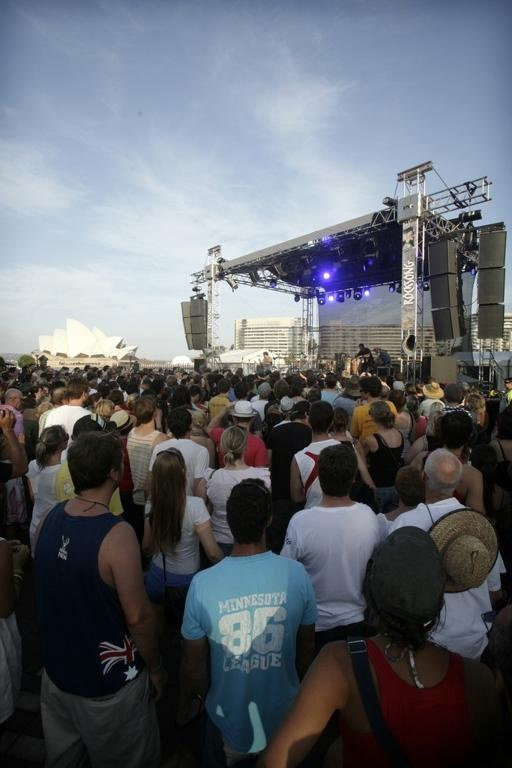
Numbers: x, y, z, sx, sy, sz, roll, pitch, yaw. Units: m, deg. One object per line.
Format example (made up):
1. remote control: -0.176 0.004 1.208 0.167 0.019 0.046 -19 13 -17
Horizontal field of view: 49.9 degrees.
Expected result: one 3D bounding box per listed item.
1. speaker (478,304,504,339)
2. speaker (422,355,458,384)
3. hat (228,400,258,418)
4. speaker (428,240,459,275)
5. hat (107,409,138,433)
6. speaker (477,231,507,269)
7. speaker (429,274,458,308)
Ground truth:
1. speaker: 4.868 -1.306 11.478 0.486 0.682 0.498 -1 3 22
2. speaker: 3.732 -0.290 11.254 0.585 0.578 0.321 -1 3 2
3. hat: -0.118 0.216 4.500 0.183 0.149 0.193 -2 3 -5
4. speaker: 3.847 -2.656 11.611 0.337 0.733 0.589 -4 3 -43
5. hat: -1.063 0.303 4.350 0.179 0.070 0.159 11 45 34
6. speaker: 4.822 -2.749 11.278 0.543 0.797 0.200 0 3 40
7. speaker: 3.942 -1.961 11.588 0.358 0.634 0.646 -5 11 -26
